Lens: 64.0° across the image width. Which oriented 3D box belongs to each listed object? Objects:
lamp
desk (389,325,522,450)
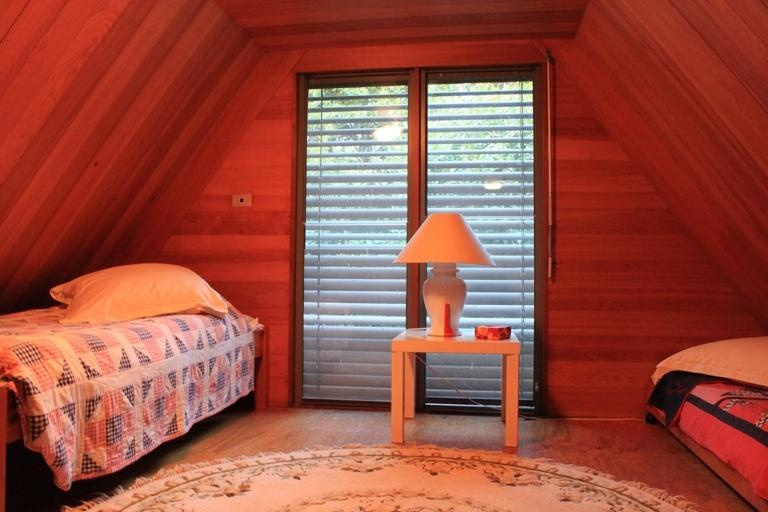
[{"bbox_3d":[0.313,0.094,3.225,0.364,0.642,0.333,-5,8,-43],"label":"lamp"},{"bbox_3d":[0.406,0.664,3.350,0.699,0.350,0.639,8,-11,-9],"label":"desk"}]
